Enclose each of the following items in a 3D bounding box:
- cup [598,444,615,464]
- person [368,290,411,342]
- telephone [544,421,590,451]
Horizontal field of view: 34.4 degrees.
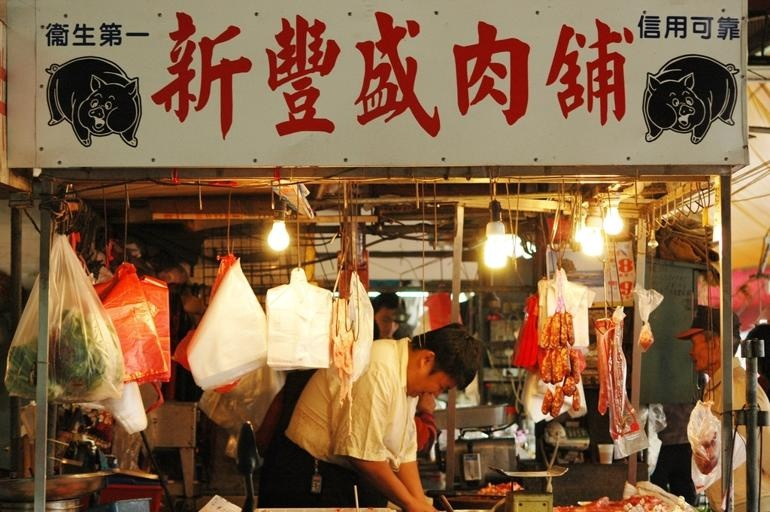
[{"bbox_3d":[2.377,2.134,13.357,0.158,0.205,0.181,0,-11,-4],"label":"cup"},{"bbox_3d":[0.033,0.745,14.544,0.380,0.781,0.437,15,19,13],"label":"person"},{"bbox_3d":[2.075,2.053,14.192,0.500,0.313,0.311,-1,-2,-14],"label":"telephone"}]
